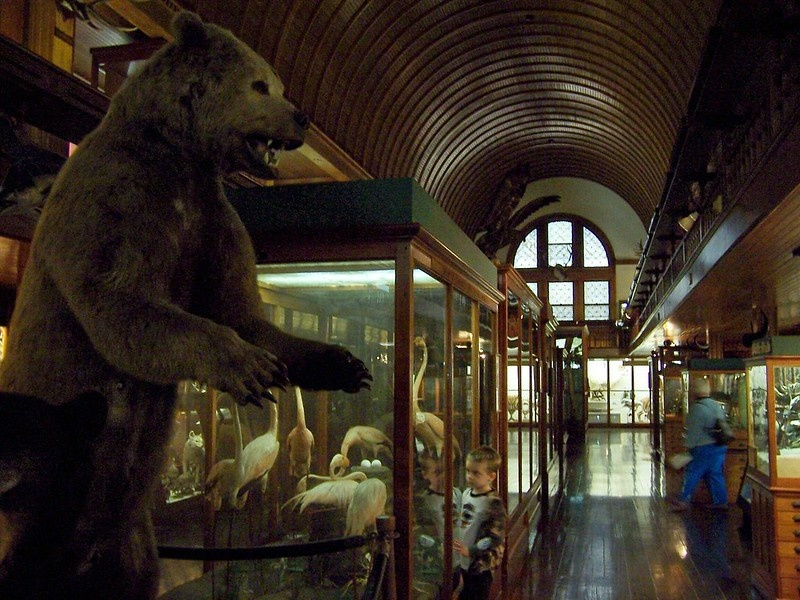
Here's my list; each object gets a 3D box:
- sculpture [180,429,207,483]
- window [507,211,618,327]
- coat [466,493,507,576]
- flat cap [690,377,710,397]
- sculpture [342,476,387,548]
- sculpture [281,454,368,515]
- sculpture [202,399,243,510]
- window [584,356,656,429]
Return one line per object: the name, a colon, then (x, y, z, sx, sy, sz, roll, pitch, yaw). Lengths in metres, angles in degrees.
sculpture: (-0.955, 0.727, 2.992, 0.069, 0.149, 0.296, -3, -49, -18)
window: (6.119, -1.115, 22.580, 3.680, 5.136, 0.355, -1, -4, -1)
coat: (0.539, 1.463, 4.069, 0.273, 0.468, 0.311, 0, -12, 7)
flat cap: (4.231, 1.234, 8.925, 0.196, 0.311, 0.704, -4, -14, 22)
sculpture: (-0.152, 0.958, 2.995, 0.138, 0.419, 0.101, -1, -19, 36)
sculpture: (-0.370, 0.860, 3.025, 0.314, 0.265, 0.220, -8, -14, 10)
sculpture: (-0.849, 0.732, 3.110, 0.278, 0.524, 0.166, -10, -11, 28)
window: (8.537, 3.714, 24.873, 2.744, 3.418, 0.367, 2, -18, -3)
